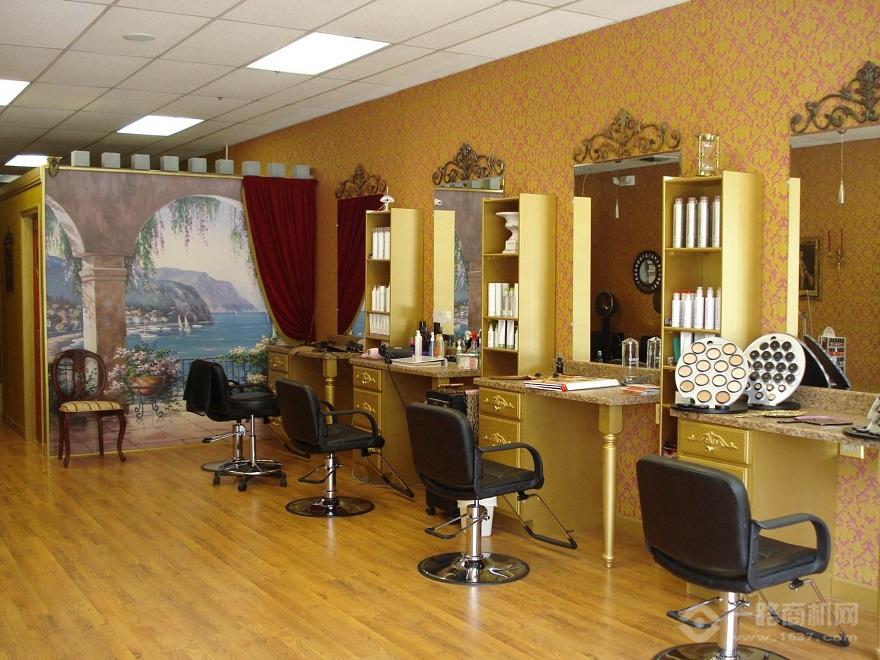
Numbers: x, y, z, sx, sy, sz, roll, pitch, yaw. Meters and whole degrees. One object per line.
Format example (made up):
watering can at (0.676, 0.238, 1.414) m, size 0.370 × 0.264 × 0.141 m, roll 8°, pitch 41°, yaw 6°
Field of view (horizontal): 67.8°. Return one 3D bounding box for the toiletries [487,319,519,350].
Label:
toiletries at (0.516, 0.047, 5.216) m, size 0.090 × 0.212 × 0.245 m, roll -2°, pitch 2°, yaw -40°

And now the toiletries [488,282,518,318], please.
toiletries at (0.514, -0.227, 5.223) m, size 0.134 × 0.267 × 0.281 m, roll 3°, pitch -4°, yaw -37°

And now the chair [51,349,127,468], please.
chair at (-3.676, 0.791, 6.876) m, size 0.687 × 1.105 × 0.653 m, roll 3°, pitch 0°, yaw -38°

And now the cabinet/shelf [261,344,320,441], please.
cabinet/shelf at (-1.627, 0.629, 7.460) m, size 0.558 × 0.703 × 0.511 m, roll 5°, pitch 5°, yaw 41°

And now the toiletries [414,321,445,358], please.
toiletries at (-0.076, 0.104, 6.007) m, size 0.343 × 0.453 × 0.141 m, roll 0°, pitch -6°, yaw 7°

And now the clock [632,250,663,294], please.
clock at (1.433, -0.397, 4.516) m, size 0.313 × 0.295 × 0.039 m, roll -1°, pitch 0°, yaw -35°

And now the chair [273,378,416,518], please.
chair at (-0.885, 0.940, 5.133) m, size 0.806 × 0.915 × 0.825 m, roll 2°, pitch -8°, yaw -10°

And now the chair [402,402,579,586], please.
chair at (0.326, 1.011, 4.205) m, size 0.902 × 0.996 × 1.040 m, roll -2°, pitch -5°, yaw 28°

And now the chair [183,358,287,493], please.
chair at (-1.986, 0.915, 6.391) m, size 0.932 × 1.099 × 0.826 m, roll 7°, pitch -8°, yaw -44°

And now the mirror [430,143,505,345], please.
mirror at (0.278, -0.905, 5.972) m, size 0.807 × 1.515 × 0.060 m, roll 1°, pitch 7°, yaw 37°
